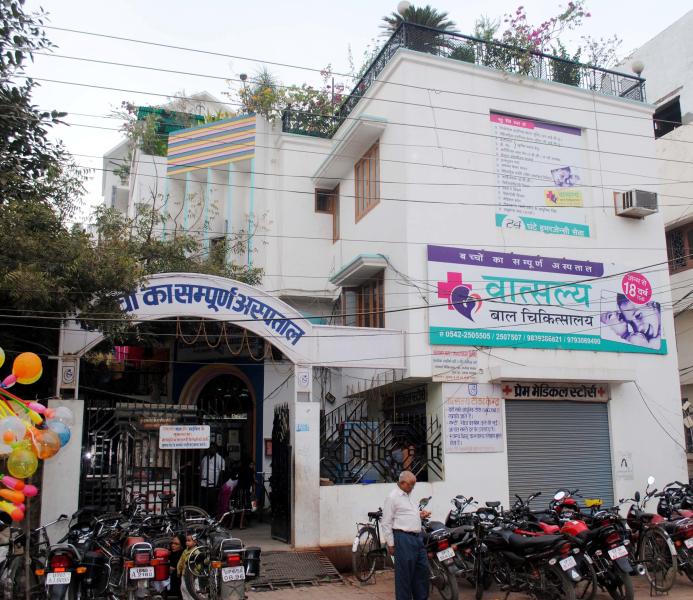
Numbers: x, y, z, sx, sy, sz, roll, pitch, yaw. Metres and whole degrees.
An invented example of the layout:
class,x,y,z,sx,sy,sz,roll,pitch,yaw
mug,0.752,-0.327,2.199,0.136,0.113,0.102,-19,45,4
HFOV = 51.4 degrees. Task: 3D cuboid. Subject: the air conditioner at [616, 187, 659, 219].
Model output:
class,x,y,z,sx,sy,sz,roll,pitch,yaw
air conditioner,6.984,-2.361,17.368,0.907,0.683,0.580,7,-15,-27
